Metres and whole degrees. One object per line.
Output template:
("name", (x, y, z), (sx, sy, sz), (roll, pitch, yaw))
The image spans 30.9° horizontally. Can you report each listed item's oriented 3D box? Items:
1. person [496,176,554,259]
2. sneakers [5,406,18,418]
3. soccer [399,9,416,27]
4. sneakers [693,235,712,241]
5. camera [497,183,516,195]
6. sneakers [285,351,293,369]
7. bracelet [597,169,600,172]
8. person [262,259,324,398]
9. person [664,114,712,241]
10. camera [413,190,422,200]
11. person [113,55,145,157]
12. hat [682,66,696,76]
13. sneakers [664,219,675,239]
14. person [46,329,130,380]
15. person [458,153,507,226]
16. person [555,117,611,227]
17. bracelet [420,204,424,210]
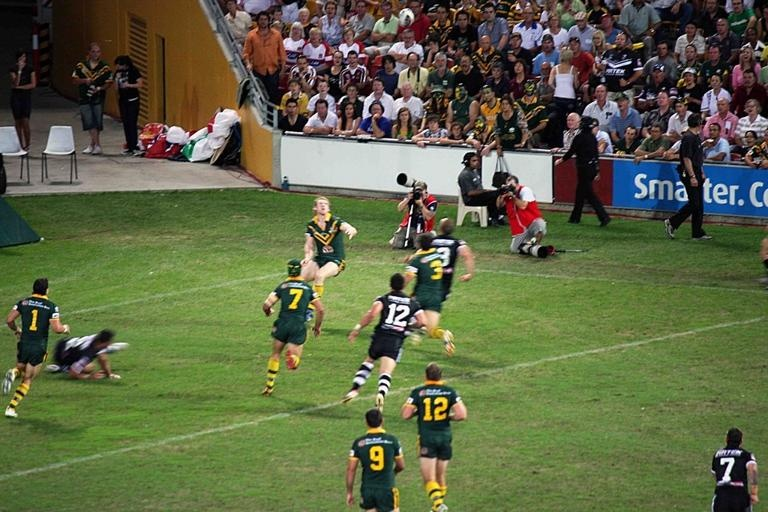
("person", (3.259, -0.910, 33.167), (1.427, 1.953, 1.148), (2, -14, -29))
("sneakers", (-7.134, 2.936, 26.463), (0.223, 0.214, 0.259), (0, 4, -15))
("soccer", (0.670, -7.013, 40.519), (0.433, 0.409, 0.367), (-20, -38, 14))
("sneakers", (7.717, -0.469, 33.717), (0.470, 0.151, 0.149), (-2, 10, 3))
("camera", (2.913, -1.638, 33.083), (0.394, 0.149, 0.478), (-2, -2, -6))
("sneakers", (-1.811, 1.993, 26.761), (0.184, 0.337, 0.126), (2, 4, 14))
("bracelet", (5.350, -2.182, 34.801), (0.077, 0.064, 0.227), (-13, 9, 11))
("person", (-1.812, 1.355, 27.218), (1.077, 2.618, 1.135), (1, 4, 1))
("person", (7.277, -1.923, 33.272), (0.977, 3.018, 0.967), (2, 4, 11))
("camera", (0.736, -1.459, 32.136), (0.261, 0.197, 0.217), (2, -29, -4))
("person", (-7.728, -4.596, 41.853), (0.728, 2.965, 1.019), (0, 4, -11))
("hat", (8.039, -4.931, 36.569), (0.401, 0.159, 0.238), (1, 8, -23))
("sneakers", (6.927, -0.686, 33.893), (0.288, 0.489, 0.197), (-18, 17, -6))
("person", (-5.949, 1.903, 27.524), (1.363, 0.481, 1.179), (-4, 20, -15))
("person", (2.493, -1.686, 35.067), (1.344, 0.909, 1.867), (-6, -41, 6))
("person", (5.017, -2.160, 34.978), (1.189, 2.751, 0.987), (1, 4, -7))
("bracelet", (0.874, -1.163, 32.208), (0.122, 0.088, 0.174), (1, 4, -4))
